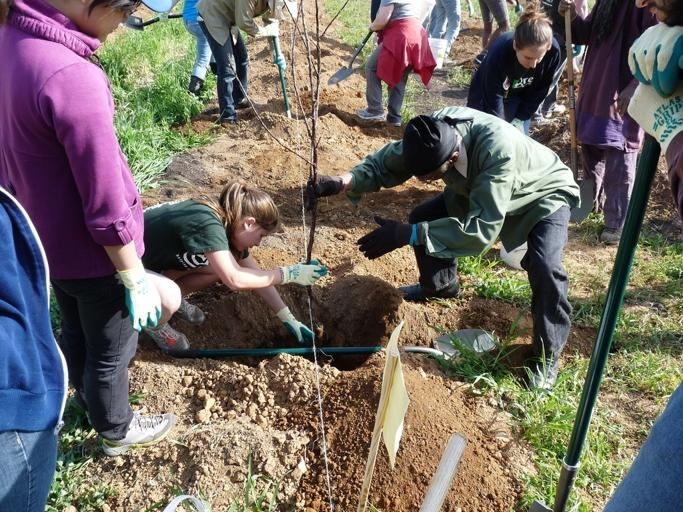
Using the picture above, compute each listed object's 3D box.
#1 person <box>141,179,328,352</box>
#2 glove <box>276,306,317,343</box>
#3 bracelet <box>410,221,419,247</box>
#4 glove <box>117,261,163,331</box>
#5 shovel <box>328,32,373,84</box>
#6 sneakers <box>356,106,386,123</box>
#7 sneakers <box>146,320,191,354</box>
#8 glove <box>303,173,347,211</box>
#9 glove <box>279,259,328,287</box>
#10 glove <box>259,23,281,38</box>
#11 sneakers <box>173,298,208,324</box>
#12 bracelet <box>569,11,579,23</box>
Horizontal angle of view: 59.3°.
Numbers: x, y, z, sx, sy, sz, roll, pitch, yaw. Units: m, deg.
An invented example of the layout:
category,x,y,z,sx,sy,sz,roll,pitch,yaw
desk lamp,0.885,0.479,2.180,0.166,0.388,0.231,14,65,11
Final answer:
category,x,y,z,sx,sy,sz,roll,pitch,yaw
person,-0.739,0.070,3.684,1.222,1.129,0.673,12,20,-9
glove,-0.286,0.455,3.987,0.281,0.180,0.087,43,36,-8
bracelet,0.456,-0.121,3.649,0.049,0.110,0.072,0,13,15
glove,-0.978,0.181,2.902,0.159,0.298,0.084,-17,30,-28
shovel,0.151,-2.374,7.170,0.193,0.090,1.044,16,64,36
sneakers,0.363,-1.686,7.290,0.332,0.175,0.158,12,33,11
sneakers,-1.076,0.512,3.725,0.316,0.234,0.152,11,64,-10
glove,-0.185,-0.443,4.092,0.386,0.305,0.193,-8,9,-31
glove,-0.255,0.122,3.816,0.230,0.163,0.092,0,-18,-28
glove,-0.760,-2.325,6.341,0.221,0.108,0.201,3,45,-4
sneakers,-0.988,0.355,3.916,0.230,0.098,0.090,34,59,17
bracelet,1.925,-1.978,4.975,0.052,0.043,0.061,3,57,-27
